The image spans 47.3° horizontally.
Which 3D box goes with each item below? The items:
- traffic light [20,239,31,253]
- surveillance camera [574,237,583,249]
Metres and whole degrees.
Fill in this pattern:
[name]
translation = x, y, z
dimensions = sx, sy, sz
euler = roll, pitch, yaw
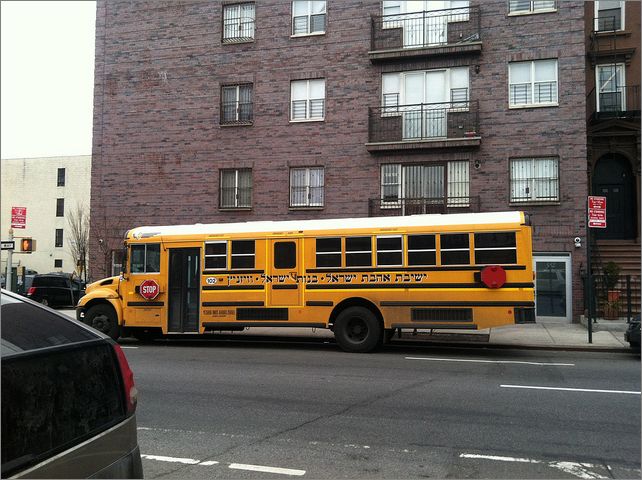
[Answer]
[traffic light]
translation = -9.749, 0.185, 24.180
dimensions = 0.459, 0.489, 1.265
euler = -2, 4, -22
[surveillance camera]
translation = 9.215, 0.094, 26.215
dimensions = 0.262, 0.445, 0.180
euler = 0, 4, 15
